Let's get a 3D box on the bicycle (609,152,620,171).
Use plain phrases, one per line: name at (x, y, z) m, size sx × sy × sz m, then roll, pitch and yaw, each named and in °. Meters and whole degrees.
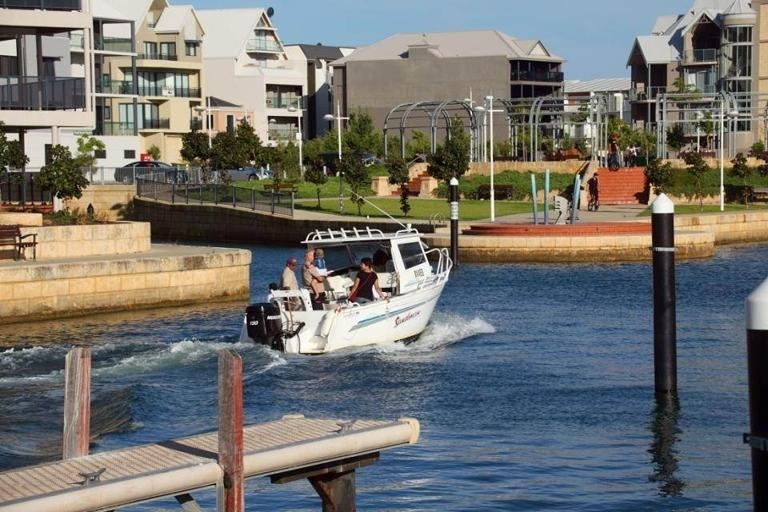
bicycle at (13.771, -5.735, 95.622) m, size 0.683 × 1.090 × 1.756 m, roll -2°, pitch 6°, yaw 8°
